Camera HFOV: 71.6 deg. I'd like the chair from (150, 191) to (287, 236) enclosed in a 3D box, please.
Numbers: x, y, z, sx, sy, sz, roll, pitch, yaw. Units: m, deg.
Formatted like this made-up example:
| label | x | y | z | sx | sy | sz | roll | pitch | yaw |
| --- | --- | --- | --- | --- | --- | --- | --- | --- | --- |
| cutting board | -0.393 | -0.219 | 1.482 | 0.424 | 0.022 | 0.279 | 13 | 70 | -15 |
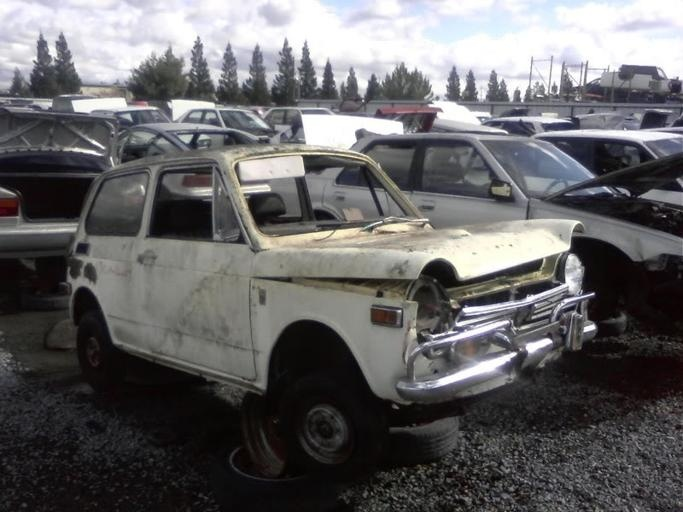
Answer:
| label | x | y | z | sx | sy | sz | roll | pitch | yaw |
| --- | --- | --- | --- | --- | --- | --- | --- | --- | --- |
| chair | -0.988 | -0.293 | 3.580 | 0.646 | 0.231 | 0.460 | 2 | 5 | 15 |
